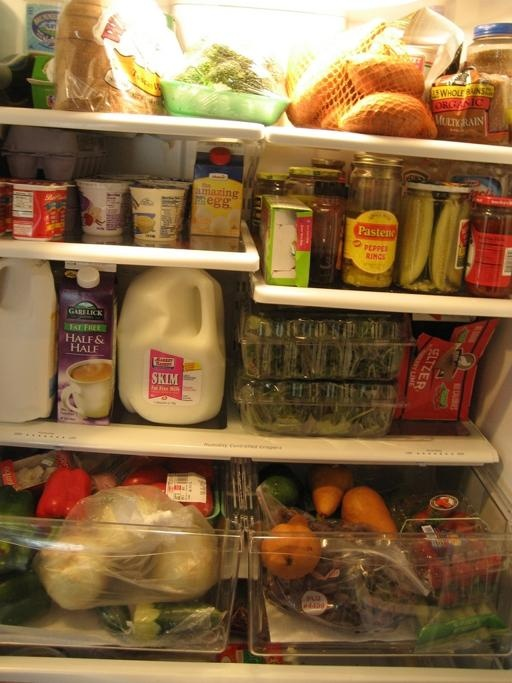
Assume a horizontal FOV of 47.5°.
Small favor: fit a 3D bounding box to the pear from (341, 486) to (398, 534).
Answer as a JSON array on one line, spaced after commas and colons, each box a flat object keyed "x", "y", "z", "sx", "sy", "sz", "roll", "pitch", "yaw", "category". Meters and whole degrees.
[{"x": 0.239, "y": 0.351, "z": 1.215, "sx": 0.101, "sy": 0.054, "sz": 0.125, "roll": -5, "pitch": 20, "yaw": -15, "category": "pear"}]

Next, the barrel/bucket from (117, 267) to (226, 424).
[{"x": -0.150, "y": 0.009, "z": 1.242, "sx": 0.242, "sy": 0.308, "sz": 0.175, "roll": 3, "pitch": 14, "yaw": 22, "category": "barrel/bucket"}]

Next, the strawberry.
[{"x": 0.369, "y": 0.369, "z": 1.074, "sx": 0.150, "sy": 0.113, "sz": 0.228, "roll": 6, "pitch": 20, "yaw": 17, "category": "strawberry"}]
